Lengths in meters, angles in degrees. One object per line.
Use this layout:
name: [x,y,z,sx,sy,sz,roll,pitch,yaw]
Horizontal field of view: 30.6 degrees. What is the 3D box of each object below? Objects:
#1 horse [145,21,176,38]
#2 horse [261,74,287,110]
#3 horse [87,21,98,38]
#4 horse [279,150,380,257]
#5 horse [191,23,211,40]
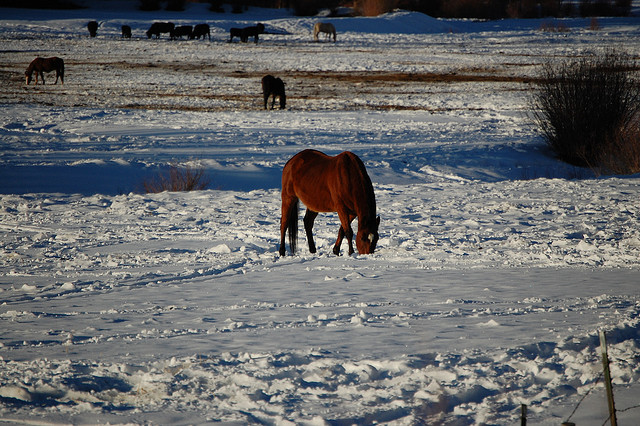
horse: [-11.727,-13.499,85.817,1.549,1.163,2.165,4,8,37]
horse: [-2.027,-5.359,51.576,1.014,1.471,1.475,-1,7,-3]
horse: [-16.490,-13.408,84.779,0.547,1.106,1.683,-2,7,-12]
horse: [0.287,-0.191,34.553,1.388,3.605,4.680,-5,10,-33]
horse: [-8.719,-13.348,85.646,1.281,1.155,2.213,-3,7,-18]
